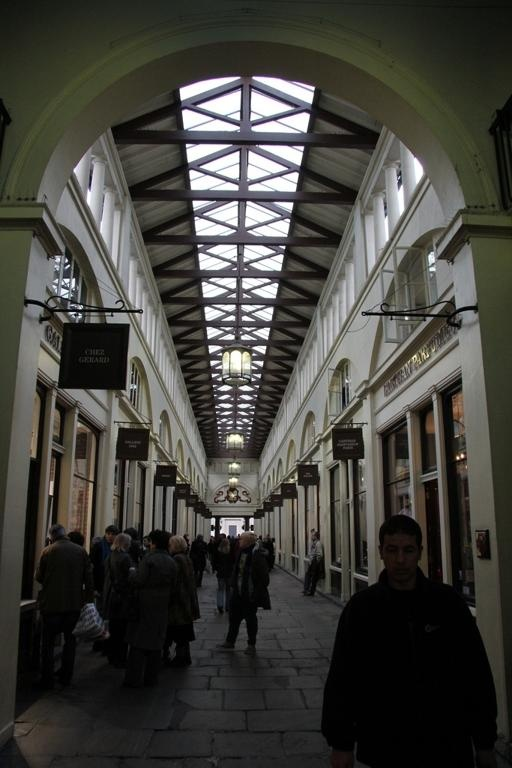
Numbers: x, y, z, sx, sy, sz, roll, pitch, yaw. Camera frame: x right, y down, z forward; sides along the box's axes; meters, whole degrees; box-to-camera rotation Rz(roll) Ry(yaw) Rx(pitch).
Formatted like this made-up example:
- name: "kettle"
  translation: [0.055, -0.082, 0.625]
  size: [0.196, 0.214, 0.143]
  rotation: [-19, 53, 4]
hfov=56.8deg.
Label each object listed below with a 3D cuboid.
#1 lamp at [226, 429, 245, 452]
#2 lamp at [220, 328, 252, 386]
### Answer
- name: "lamp"
  translation: [-1.169, 3.162, 26.036]
  size: [0.733, 1.124, 1.016]
  rotation: [0, -15, 6]
- name: "lamp"
  translation: [-0.578, -1.111, 14.405]
  size: [0.810, 2.539, 1.037]
  rotation: [-4, -23, 7]
